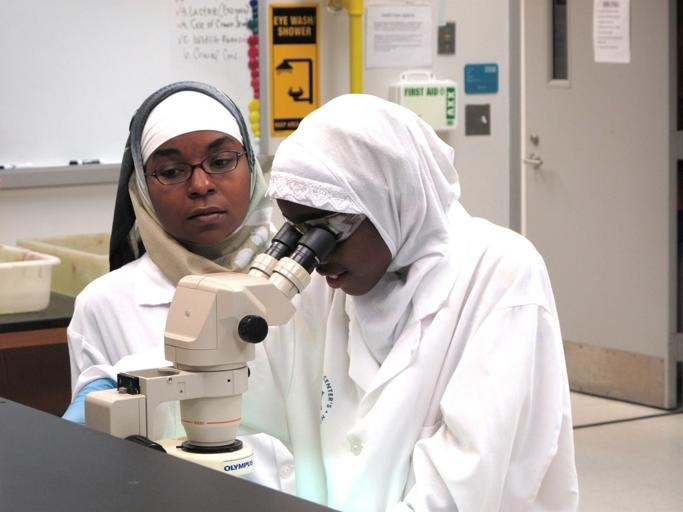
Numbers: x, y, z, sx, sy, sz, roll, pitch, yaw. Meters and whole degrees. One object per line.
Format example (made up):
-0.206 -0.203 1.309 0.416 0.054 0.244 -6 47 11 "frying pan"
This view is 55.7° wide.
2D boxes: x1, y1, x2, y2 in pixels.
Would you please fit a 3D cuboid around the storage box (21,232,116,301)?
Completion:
-0.921 0.009 2.238 0.235 0.225 0.259 19 24 36 "storage box"

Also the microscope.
-0.210 0.134 1.093 0.450 0.497 0.207 0 4 -39 "microscope"
